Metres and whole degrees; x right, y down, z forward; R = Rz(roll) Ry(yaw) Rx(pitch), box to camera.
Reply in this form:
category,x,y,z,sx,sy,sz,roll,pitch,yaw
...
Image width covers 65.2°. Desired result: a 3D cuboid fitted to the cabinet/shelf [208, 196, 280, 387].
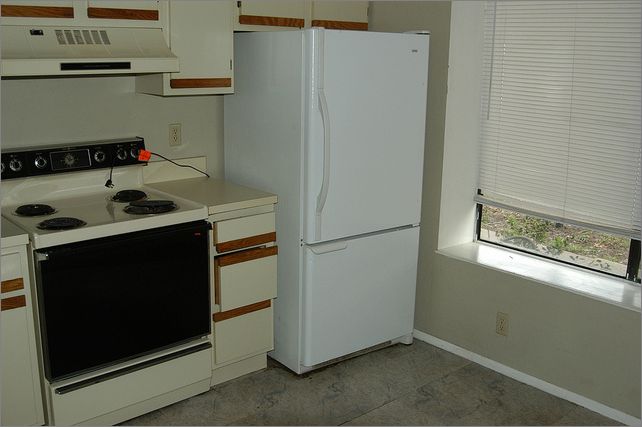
category,x,y,z,sx,sy,sz,roll,pitch,yaw
cabinet/shelf,-0.510,0.457,3.218,0.551,0.986,0.308,-11,27,-20

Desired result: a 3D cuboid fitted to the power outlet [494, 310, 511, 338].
category,x,y,z,sx,sy,sz,roll,pitch,yaw
power outlet,1.241,0.758,3.433,0.100,0.157,0.040,15,29,31

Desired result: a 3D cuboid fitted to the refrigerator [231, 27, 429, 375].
category,x,y,z,sx,sy,sz,roll,pitch,yaw
refrigerator,0.108,-0.083,3.428,1.392,2.232,1.004,-6,25,-10

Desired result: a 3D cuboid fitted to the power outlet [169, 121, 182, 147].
category,x,y,z,sx,sy,sz,roll,pitch,yaw
power outlet,-1.011,-0.542,3.452,0.104,0.155,0.043,-12,27,-23
